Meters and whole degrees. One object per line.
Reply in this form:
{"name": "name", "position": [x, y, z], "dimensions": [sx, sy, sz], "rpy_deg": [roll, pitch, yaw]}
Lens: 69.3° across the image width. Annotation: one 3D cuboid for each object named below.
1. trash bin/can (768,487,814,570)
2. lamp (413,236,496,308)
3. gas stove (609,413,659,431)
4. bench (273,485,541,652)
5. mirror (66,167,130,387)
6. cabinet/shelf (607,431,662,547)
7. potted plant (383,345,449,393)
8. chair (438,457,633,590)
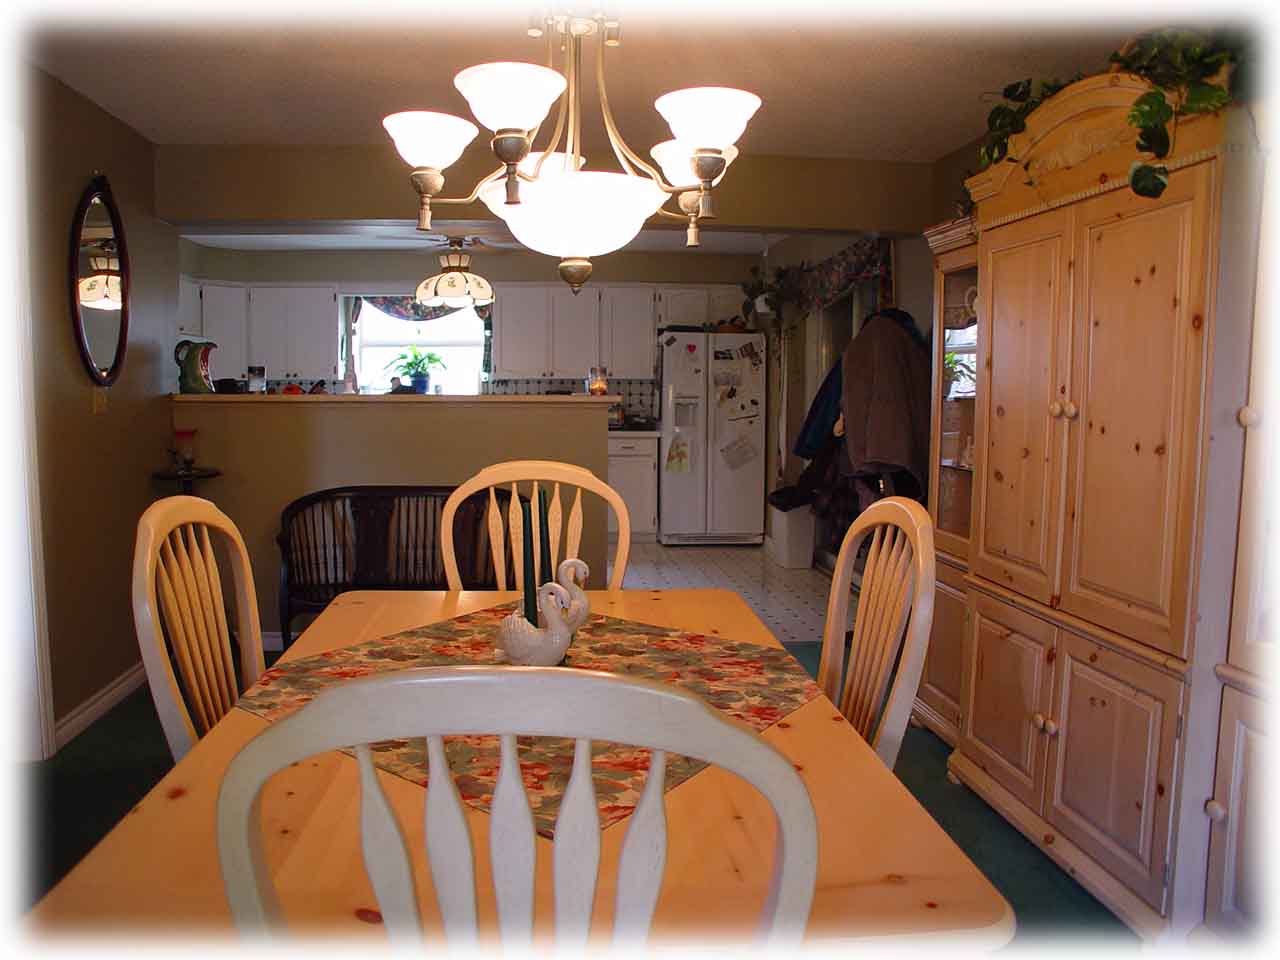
{"name": "trash bin/can", "position": [1.107, 0.294, 6.913], "dimensions": [0.368, 0.373, 0.203], "rpy_deg": [15, 1, 0]}
{"name": "lamp", "position": [-1.214, -1.447, 6.153], "dimensions": [0.543, 0.565, 0.549], "rpy_deg": [-3, 5, -21]}
{"name": "gas stove", "position": [-0.034, -0.503, 7.998], "dimensions": [0.418, 0.140, 0.652], "rpy_deg": [3, 6, 2]}
{"name": "bench", "position": [-1.055, 0.487, 4.461], "dimensions": [1.231, 0.857, 0.493], "rpy_deg": [0, 4, -13]}
{"name": "mirror", "position": [-2.378, -0.869, 4.095], "dimensions": [0.092, 0.922, 0.498], "rpy_deg": [1, 7, -12]}
{"name": "cabinet/shelf", "position": [-0.167, 0.064, 7.948], "dimensions": [0.638, 0.946, 0.670], "rpy_deg": [0, -1, -7]}
{"name": "potted plant", "position": [-1.960, -0.995, 8.250], "dimensions": [0.557, 0.380, 1.240], "rpy_deg": [1, 7, -16]}
{"name": "chair", "position": [-0.445, 0.169, 3.607], "dimensions": [0.602, 0.813, 0.549], "rpy_deg": [-1, 5, -10]}
